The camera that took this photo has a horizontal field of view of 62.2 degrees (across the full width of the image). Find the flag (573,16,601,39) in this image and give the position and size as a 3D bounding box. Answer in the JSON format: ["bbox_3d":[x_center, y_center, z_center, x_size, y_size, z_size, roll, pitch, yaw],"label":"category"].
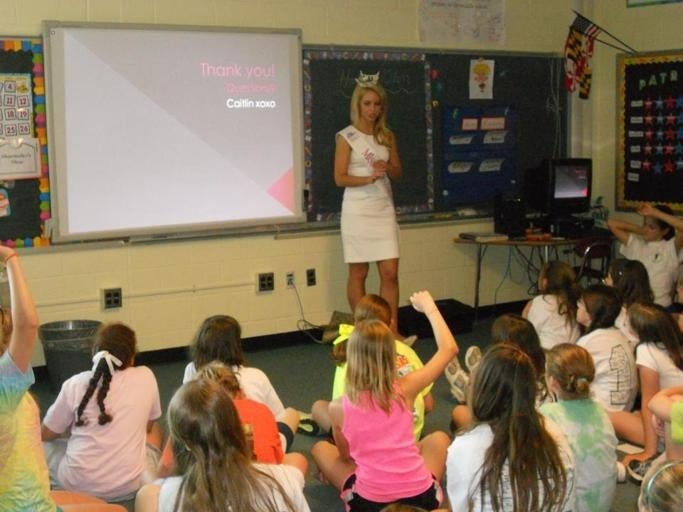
[{"bbox_3d":[2.526,-2.355,5.842,0.215,0.323,0.031,-48,0,-33],"label":"flag"}]

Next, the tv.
[{"bbox_3d":[2.191,-0.717,5.937,0.569,0.619,0.589,-2,6,-19],"label":"tv"}]

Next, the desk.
[{"bbox_3d":[2.003,0.427,5.617,1.434,0.757,0.857,-8,11,-40],"label":"desk"}]
